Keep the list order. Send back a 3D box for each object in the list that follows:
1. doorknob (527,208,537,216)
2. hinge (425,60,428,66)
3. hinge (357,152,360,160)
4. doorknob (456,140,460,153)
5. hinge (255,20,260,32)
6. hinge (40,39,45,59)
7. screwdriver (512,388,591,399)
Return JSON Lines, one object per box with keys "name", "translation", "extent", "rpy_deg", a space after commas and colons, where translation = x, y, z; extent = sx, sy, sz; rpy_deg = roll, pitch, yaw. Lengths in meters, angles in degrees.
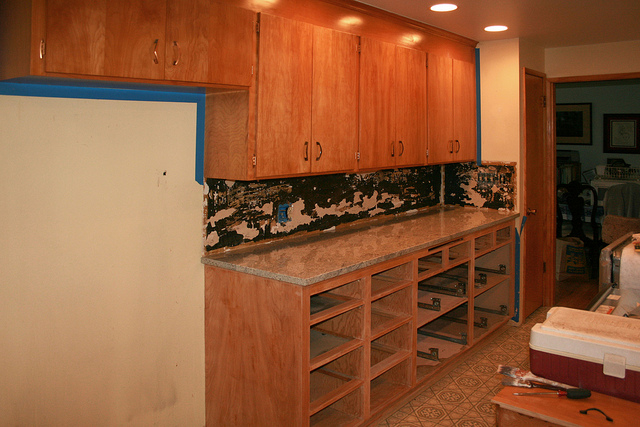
{"name": "doorknob", "translation": [2.270, -0.008, 5.266], "extent": [0.114, 0.063, 0.067], "rpy_deg": [0, 7, 29]}
{"name": "hinge", "translation": [0.968, -1.366, 4.463], "extent": [0.020, 0.053, 0.063], "rpy_deg": [2, 5, 31]}
{"name": "hinge", "translation": [0.308, -0.451, 3.888], "extent": [0.022, 0.054, 0.007], "rpy_deg": [-7, 14, -32]}
{"name": "doorknob", "translation": [1.382, -0.668, 4.917], "extent": [0.019, 0.124, 0.063], "rpy_deg": [9, 14, 35]}
{"name": "hinge", "translation": [-0.415, -1.234, 3.253], "extent": [0.025, 0.066, 0.018], "rpy_deg": [-1, 12, -8]}
{"name": "hinge", "translation": [-1.468, -0.869, 2.601], "extent": [0.026, 0.100, 0.014], "rpy_deg": [-4, 13, -22]}
{"name": "screwdriver", "translation": [1.140, 0.881, 2.388], "extent": [0.258, 0.051, 0.045], "rpy_deg": [-3, -5, 17]}
